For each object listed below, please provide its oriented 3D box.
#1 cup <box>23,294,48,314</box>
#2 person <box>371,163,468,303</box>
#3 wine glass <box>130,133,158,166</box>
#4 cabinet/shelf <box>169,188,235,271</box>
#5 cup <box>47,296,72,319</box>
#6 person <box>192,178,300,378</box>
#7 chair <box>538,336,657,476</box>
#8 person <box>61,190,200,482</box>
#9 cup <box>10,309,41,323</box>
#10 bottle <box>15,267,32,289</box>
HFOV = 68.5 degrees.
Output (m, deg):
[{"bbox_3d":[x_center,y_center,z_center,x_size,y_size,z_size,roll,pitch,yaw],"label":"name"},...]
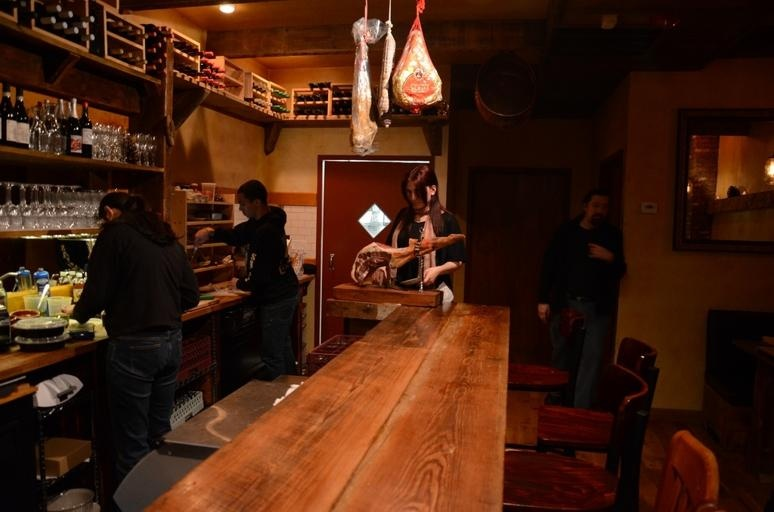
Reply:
[{"bbox_3d":[-2.554,0.343,4.117,0.138,0.145,0.138,5,5,0],"label":"cup"},{"bbox_3d":[0.265,-0.167,4.419,0.683,1.060,0.656,2,5,7],"label":"person"},{"bbox_3d":[-2.060,-0.868,4.787,0.255,0.277,0.239,4,-1,-31],"label":"wine glass"},{"bbox_3d":[-1.761,-0.266,5.344,0.302,0.795,0.847,-1,0,10],"label":"cabinet/shelf"},{"bbox_3d":[-2.403,0.382,4.164,0.137,0.112,0.145,5,-2,0],"label":"cup"},{"bbox_3d":[-1.234,0.239,5.434,0.764,1.894,0.581,5,7,36],"label":"person"},{"bbox_3d":[1.266,1.037,3.610,0.630,0.971,0.678,8,21,27],"label":"chair"},{"bbox_3d":[-1.748,0.620,3.999,0.789,1.845,0.347,-2,6,-29],"label":"person"},{"bbox_3d":[-2.533,0.429,3.971,0.168,0.076,0.331,-3,6,-38],"label":"cup"},{"bbox_3d":[-2.707,0.172,4.231,0.099,0.154,0.125,-3,6,-33],"label":"bottle"}]
